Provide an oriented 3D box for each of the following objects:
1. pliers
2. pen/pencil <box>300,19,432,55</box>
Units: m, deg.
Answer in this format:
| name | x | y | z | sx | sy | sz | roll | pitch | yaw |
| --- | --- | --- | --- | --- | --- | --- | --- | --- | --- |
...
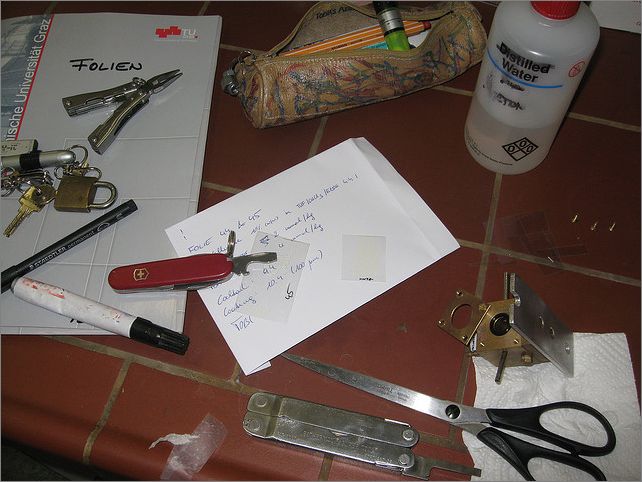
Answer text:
| name | x | y | z | sx | sy | sz | roll | pitch | yaw |
| --- | --- | --- | --- | --- | --- | --- | --- | --- | --- |
| pliers | -0.334 | -0.243 | 0.913 | 0.190 | 0.040 | 0.109 | -38 | 74 | -11 |
| pen/pencil | 0.077 | -0.334 | 0.876 | 0.238 | 0.028 | 0.028 | -15 | 95 | -1 |
